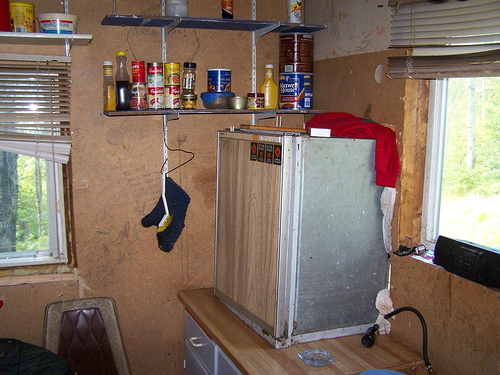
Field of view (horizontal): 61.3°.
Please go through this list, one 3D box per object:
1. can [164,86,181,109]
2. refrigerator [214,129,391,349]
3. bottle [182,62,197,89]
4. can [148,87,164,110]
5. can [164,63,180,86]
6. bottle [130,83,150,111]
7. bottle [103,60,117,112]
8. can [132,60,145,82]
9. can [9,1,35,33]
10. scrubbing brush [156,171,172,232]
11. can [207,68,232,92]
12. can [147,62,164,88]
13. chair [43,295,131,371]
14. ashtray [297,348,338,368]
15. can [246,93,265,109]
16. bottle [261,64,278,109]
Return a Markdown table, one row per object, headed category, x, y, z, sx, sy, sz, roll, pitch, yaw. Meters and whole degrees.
| category | x | y | z | sx | sy | sz | roll | pitch | yaw |
| --- | --- | --- | --- | --- | --- | --- | --- | --- | --- |
| can | -0.446 | -0.509 | 2.388 | 0.085 | 0.126 | 0.053 | -3 | 12 | -11 |
| refrigerator | 0.285 | 0.264 | 2.419 | 0.776 | 1.177 | 0.726 | -3 | 8 | -29 |
| bottle | -0.358 | -0.649 | 2.439 | 0.081 | 0.154 | 0.116 | -3 | 12 | -9 |
| can | -0.528 | -0.498 | 2.363 | 0.113 | 0.122 | 0.112 | -3 | 9 | -28 |
| can | -0.442 | -0.638 | 2.386 | 0.097 | 0.124 | 0.076 | -6 | 12 | -23 |
| bottle | -0.620 | -0.509 | 2.354 | 0.103 | 0.148 | 0.067 | -5 | 12 | -18 |
| bottle | -0.811 | -0.581 | 2.417 | 0.074 | 0.280 | 0.220 | -5 | 12 | -18 |
| can | -0.619 | -0.641 | 2.332 | 0.071 | 0.109 | 0.053 | -5 | 12 | -18 |
| can | -1.180 | -0.893 | 2.256 | 0.145 | 0.152 | 0.147 | 10 | 13 | 42 |
| scrubbing brush | -0.562 | 0.099 | 2.715 | 0.060 | 0.387 | 0.084 | 10 | 16 | 44 |
| can | -0.186 | -0.620 | 2.466 | 0.136 | 0.130 | 0.133 | 2 | 10 | 10 |
| can | -0.554 | -0.634 | 2.396 | 0.127 | 0.139 | 0.127 | -3 | 16 | -13 |
| chair | -0.988 | 0.889 | 2.519 | 0.446 | 0.398 | 0.189 | -5 | 12 | -20 |
| ashtray | 0.316 | 0.797 | 1.985 | 0.155 | 0.016 | 0.141 | -7 | 13 | -25 |
| can | 0.030 | -0.511 | 2.511 | 0.097 | 0.071 | 0.097 | 0 | 8 | 0 |
| bottle | 0.116 | -0.626 | 2.632 | 0.098 | 0.264 | 0.159 | -1 | 11 | 2 |
